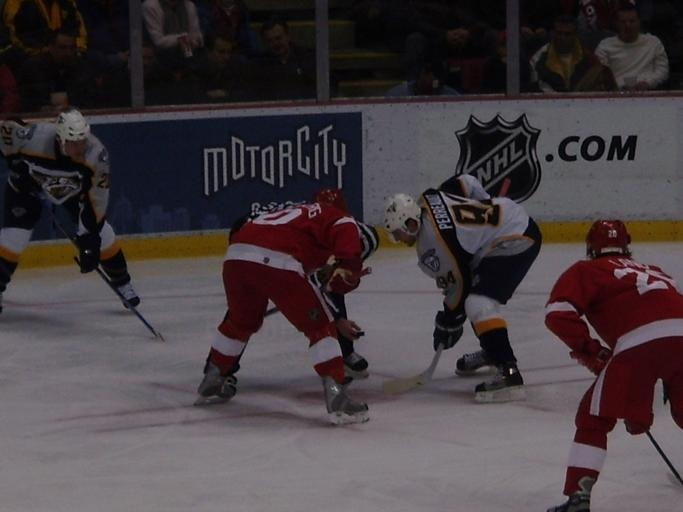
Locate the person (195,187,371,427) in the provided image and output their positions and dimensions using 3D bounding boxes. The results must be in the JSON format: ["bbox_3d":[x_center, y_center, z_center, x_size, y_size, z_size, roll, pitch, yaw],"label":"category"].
[{"bbox_3d":[-0.236,0.216,5.459,1.052,1.258,0.944,1,-6,30],"label":"person"}]

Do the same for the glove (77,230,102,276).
[{"bbox_3d":[-1.778,-0.045,6.901,0.210,0.259,0.090,7,0,5],"label":"glove"}]

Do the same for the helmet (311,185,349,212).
[{"bbox_3d":[-0.041,-0.309,5.333,0.174,0.118,0.164,-17,17,-12],"label":"helmet"}]

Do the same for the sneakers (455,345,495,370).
[{"bbox_3d":[0.787,0.613,5.892,0.282,0.119,0.091,-11,19,23],"label":"sneakers"}]

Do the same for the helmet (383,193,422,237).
[{"bbox_3d":[0.326,-0.242,5.476,0.245,0.215,0.175,3,3,0],"label":"helmet"}]

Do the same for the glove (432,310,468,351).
[{"bbox_3d":[0.633,0.409,5.735,0.157,0.243,0.098,15,28,-11],"label":"glove"}]

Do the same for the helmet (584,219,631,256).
[{"bbox_3d":[1.248,-0.063,4.591,0.218,0.223,0.248,-1,-5,10],"label":"helmet"}]

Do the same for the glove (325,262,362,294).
[{"bbox_3d":[0.022,0.128,5.284,0.266,0.130,0.189,-3,-1,23],"label":"glove"}]

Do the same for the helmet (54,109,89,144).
[{"bbox_3d":[-1.785,-0.886,6.626,0.186,0.205,0.233,-11,14,-39],"label":"helmet"}]

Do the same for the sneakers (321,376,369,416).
[{"bbox_3d":[0.007,0.728,5.164,0.196,0.227,0.175,-15,18,-36],"label":"sneakers"}]

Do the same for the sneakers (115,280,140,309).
[{"bbox_3d":[-1.566,0.285,7.170,0.070,0.093,0.205,-38,53,2],"label":"sneakers"}]

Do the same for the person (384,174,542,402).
[{"bbox_3d":[0.706,0.189,5.558,0.744,1.136,0.573,3,16,23],"label":"person"}]

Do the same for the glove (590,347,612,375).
[{"bbox_3d":[1.172,0.469,4.436,0.044,0.103,0.107,25,4,-15],"label":"glove"}]
